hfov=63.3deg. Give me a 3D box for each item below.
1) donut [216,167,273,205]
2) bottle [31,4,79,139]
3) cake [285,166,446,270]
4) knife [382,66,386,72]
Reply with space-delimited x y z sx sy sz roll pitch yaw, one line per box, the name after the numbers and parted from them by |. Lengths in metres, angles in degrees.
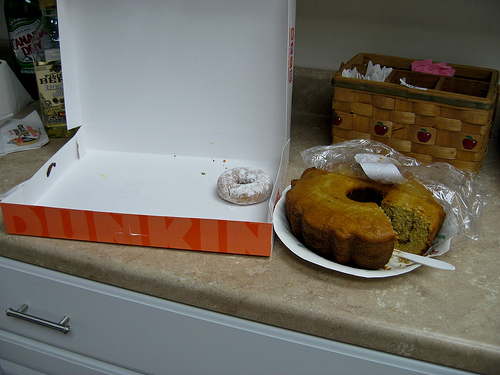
-0.014 -0.003 1.005 0.131 0.046 0.125 -12 34 -21 | donut
-0.598 -0.336 1.210 0.105 0.361 0.298 -14 35 -25 | bottle
0.261 0.054 0.926 0.341 0.100 0.324 -12 27 -19 | cake
0.380 -0.334 1.157 0.013 0.003 0.013 -31 12 22 | knife
